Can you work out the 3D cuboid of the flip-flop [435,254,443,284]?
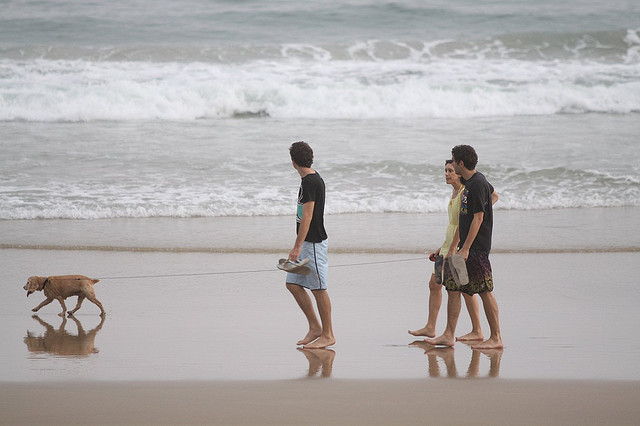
[{"bbox_3d":[2.830,1.312,26.636,0.182,0.680,0.115,-1,2,4],"label":"flip-flop"}]

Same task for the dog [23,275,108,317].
[{"bbox_3d":[-6.166,2.020,27.645,2.154,0.915,0.505,-2,-1,13],"label":"dog"}]
